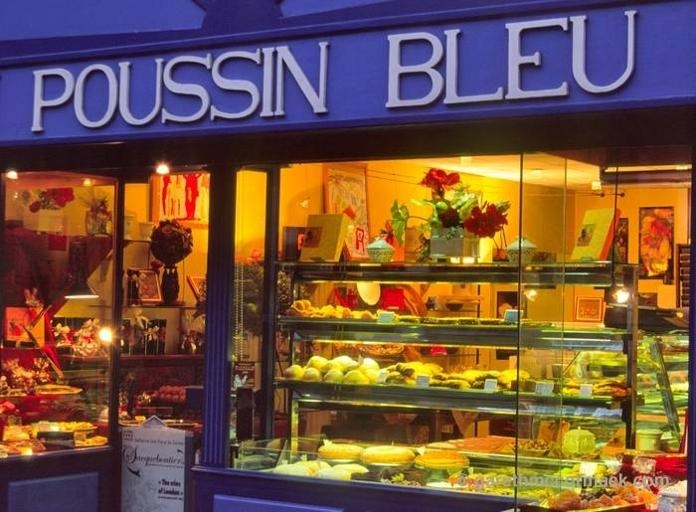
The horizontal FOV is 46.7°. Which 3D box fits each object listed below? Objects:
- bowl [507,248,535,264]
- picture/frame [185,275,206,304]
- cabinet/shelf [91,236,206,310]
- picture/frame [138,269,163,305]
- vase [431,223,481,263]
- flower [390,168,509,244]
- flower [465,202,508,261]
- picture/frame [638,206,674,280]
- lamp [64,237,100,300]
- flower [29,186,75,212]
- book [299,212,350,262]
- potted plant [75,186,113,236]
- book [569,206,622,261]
[{"bbox_3d":[1.048,0.003,4.852,0.138,0.128,0.140,0,3,0],"label":"bowl"},{"bbox_3d":[-1.483,0.323,7.869,0.248,0.264,0.080,17,-40,-35],"label":"picture/frame"},{"bbox_3d":[-1.833,0.159,7.238,0.198,0.576,0.582,-12,-14,41],"label":"cabinet/shelf"},{"bbox_3d":[-1.789,0.278,7.317,0.098,0.304,0.256,-4,-7,35],"label":"picture/frame"},{"bbox_3d":[0.788,-0.097,5.970,0.267,0.265,0.273,-1,-1,37],"label":"vase"},{"bbox_3d":[0.804,-0.359,6.176,0.811,0.421,0.855,20,-15,30],"label":"flower"},{"bbox_3d":[1.005,-0.236,5.907,0.303,0.317,0.098,-2,-7,14],"label":"flower"},{"bbox_3d":[2.414,-0.120,6.332,0.291,0.564,0.012,-1,2,-4],"label":"picture/frame"},{"bbox_3d":[-2.264,0.109,6.848,0.282,0.506,0.288,-2,-14,-25],"label":"lamp"},{"bbox_3d":[-2.422,-0.460,6.610,0.338,0.213,0.049,3,-7,-29],"label":"flower"},{"bbox_3d":[-0.186,-0.147,6.295,0.345,0.377,0.085,-2,-18,23],"label":"book"},{"bbox_3d":[-2.111,-0.368,6.857,0.327,0.486,0.398,-1,-1,-1],"label":"potted plant"},{"bbox_3d":[1.609,-0.143,5.228,0.128,0.370,0.517,-5,-8,40],"label":"book"}]
